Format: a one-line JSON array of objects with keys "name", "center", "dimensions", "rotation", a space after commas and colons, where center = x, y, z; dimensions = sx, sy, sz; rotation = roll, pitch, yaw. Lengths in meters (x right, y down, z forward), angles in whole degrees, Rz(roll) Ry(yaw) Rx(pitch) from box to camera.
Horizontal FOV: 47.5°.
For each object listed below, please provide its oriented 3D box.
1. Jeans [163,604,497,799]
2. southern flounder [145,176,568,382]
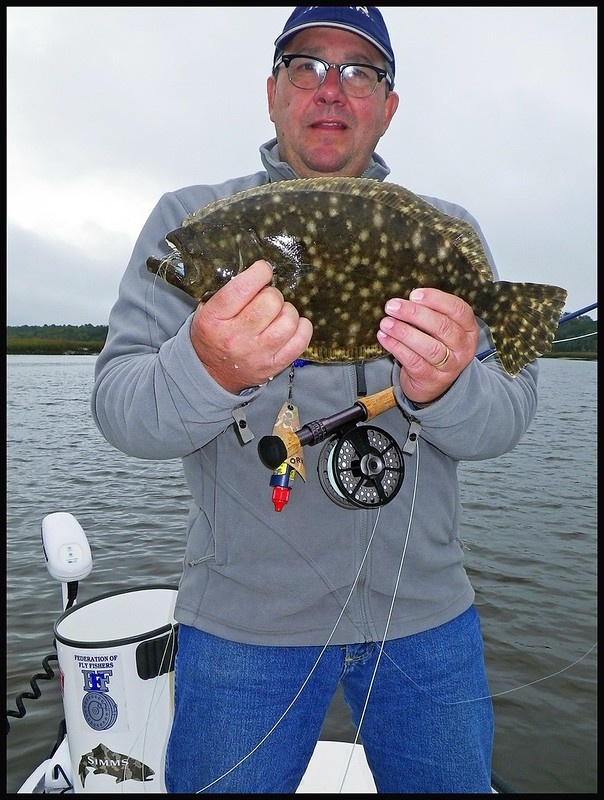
[{"name": "Jeans", "center": [0.106, 1.225, 2.809], "dimensions": [1.304, 1.150, 0.462], "rotation": [1, -9, -4]}, {"name": "southern flounder", "center": [0.210, -0.444, 2.567], "dimensions": [1.520, 0.711, 0.385], "rotation": [-2, 6, -19]}]
